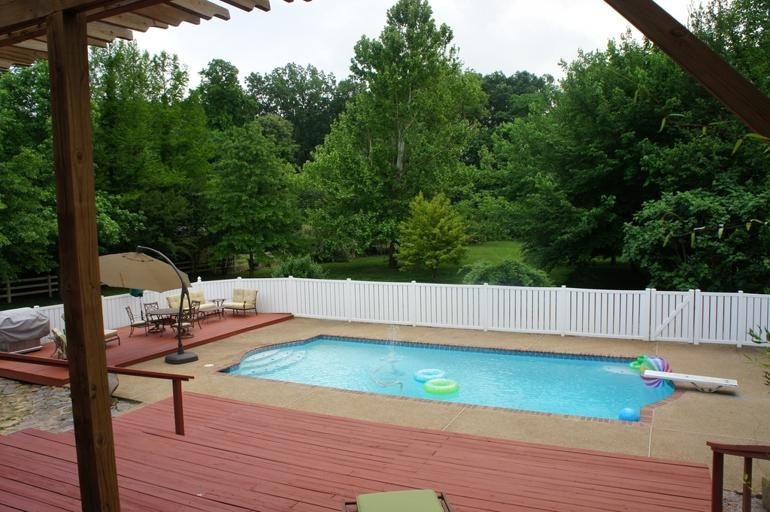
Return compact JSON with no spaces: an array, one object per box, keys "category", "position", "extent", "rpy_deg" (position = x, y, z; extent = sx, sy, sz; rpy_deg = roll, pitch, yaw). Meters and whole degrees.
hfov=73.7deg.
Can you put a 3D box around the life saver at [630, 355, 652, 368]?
[{"category":"life saver","position":[7.132,2.978,14.464],"extent":[0.713,0.203,0.473],"rpy_deg":[-10,14,23]}]

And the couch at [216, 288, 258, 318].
[{"category":"couch","position":[-5.937,1.846,21.155],"extent":[1.939,1.254,1.113],"rpy_deg":[0,3,22]}]

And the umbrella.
[{"category":"umbrella","position":[-6.918,1.448,14.984],"extent":[2.321,3.431,2.684],"rpy_deg":[-1,6,-25]}]

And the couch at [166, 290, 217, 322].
[{"category":"couch","position":[-7.220,1.914,18.955],"extent":[0.867,0.728,1.671],"rpy_deg":[6,0,21]}]

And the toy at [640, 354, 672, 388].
[{"category":"toy","position":[7.028,3.092,13.300],"extent":[0.655,0.773,0.926],"rpy_deg":[5,6,27]}]
